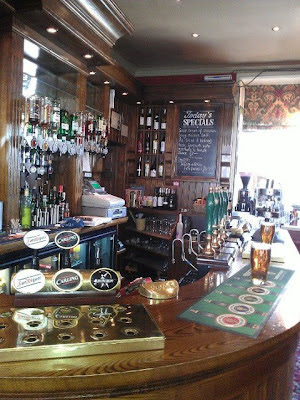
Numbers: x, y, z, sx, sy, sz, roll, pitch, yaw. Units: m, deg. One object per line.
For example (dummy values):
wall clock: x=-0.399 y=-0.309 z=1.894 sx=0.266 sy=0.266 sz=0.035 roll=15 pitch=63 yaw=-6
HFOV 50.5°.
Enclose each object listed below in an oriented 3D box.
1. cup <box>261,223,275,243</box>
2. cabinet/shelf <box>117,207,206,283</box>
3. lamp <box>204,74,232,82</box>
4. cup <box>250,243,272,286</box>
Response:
cup: x=0.706 y=0.198 z=1.907 sx=0.089 sy=0.124 sz=0.071 roll=5 pitch=6 yaw=1
cabinet/shelf: x=0.130 y=0.560 z=4.047 sx=0.401 sy=1.095 sz=1.208 roll=0 pitch=1 yaw=-44
lamp: x=0.971 y=-1.730 z=4.530 sx=0.284 sy=0.064 sz=0.278 roll=2 pitch=11 yaw=10
cup: x=0.492 y=0.280 z=1.432 sx=0.084 sy=0.184 sz=0.146 roll=7 pitch=6 yaw=19
